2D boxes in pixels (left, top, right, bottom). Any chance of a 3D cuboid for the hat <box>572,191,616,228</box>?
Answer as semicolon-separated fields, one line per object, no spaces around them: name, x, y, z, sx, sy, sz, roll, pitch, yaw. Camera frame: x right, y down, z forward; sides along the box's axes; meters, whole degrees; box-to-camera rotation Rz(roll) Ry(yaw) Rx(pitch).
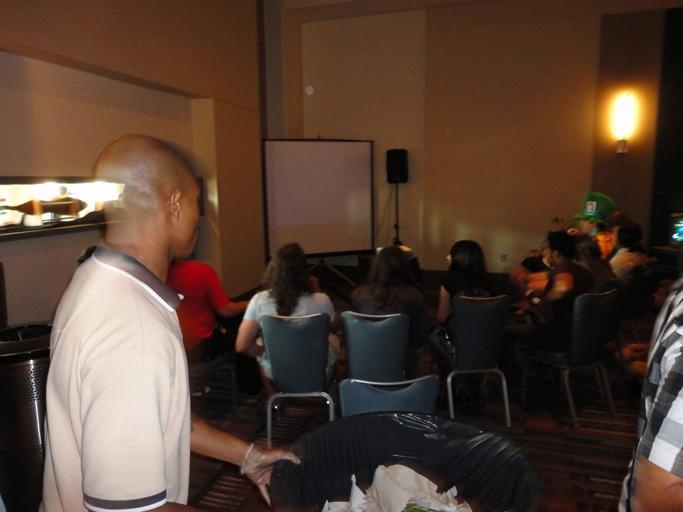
hat;3.089;-0.599;6.679;0.510;0.296;0.736;18;18;36

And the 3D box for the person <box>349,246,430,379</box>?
person;0.325;0.383;3.773;0.500;0.884;0.300;1;9;3

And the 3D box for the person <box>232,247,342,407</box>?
person;-0.363;0.563;3.931;0.821;1.303;0.714;-8;23;-22

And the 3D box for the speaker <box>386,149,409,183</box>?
speaker;0.863;-1.297;8.372;0.315;0.561;0.312;-3;-20;10
